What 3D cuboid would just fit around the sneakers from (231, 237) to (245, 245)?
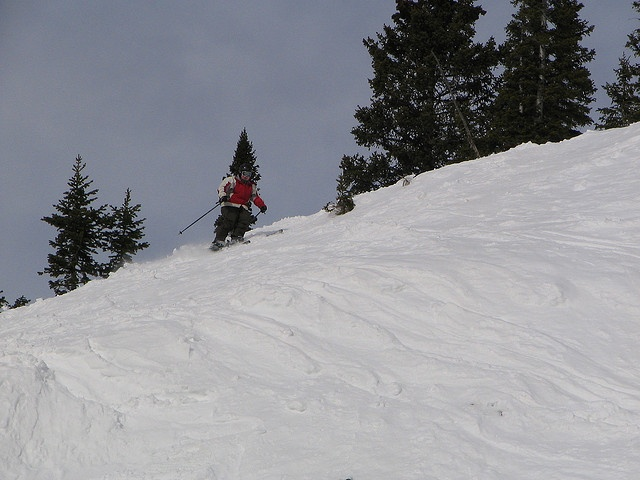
[{"bbox_3d":[-2.643,0.007,23.301,0.279,0.095,0.276,5,27,36],"label":"sneakers"}]
